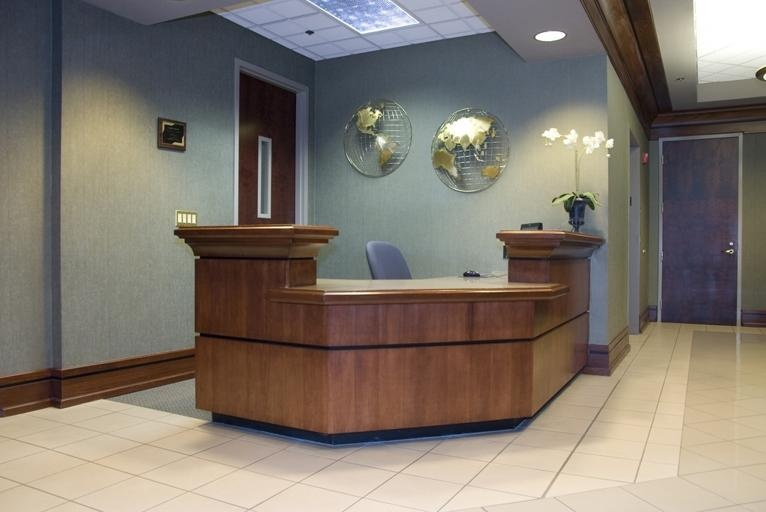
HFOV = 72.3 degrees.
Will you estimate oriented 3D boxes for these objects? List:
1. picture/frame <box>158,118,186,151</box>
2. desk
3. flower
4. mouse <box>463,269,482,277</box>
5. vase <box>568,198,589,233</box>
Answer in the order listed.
[{"bbox_3d":[-2.036,-1.172,5.061,0.032,0.265,0.300,10,9,33],"label":"picture/frame"},{"bbox_3d":[0.060,0.514,3.910,3.092,1.485,0.760,0,6,-12],"label":"desk"},{"bbox_3d":[1.951,-0.883,5.303,0.621,0.874,0.458,3,6,20],"label":"flower"},{"bbox_3d":[0.842,0.166,4.996,0.131,0.052,0.074,-2,2,10],"label":"mouse"},{"bbox_3d":[1.928,-0.376,5.255,0.247,0.294,0.236,3,-1,16],"label":"vase"}]
